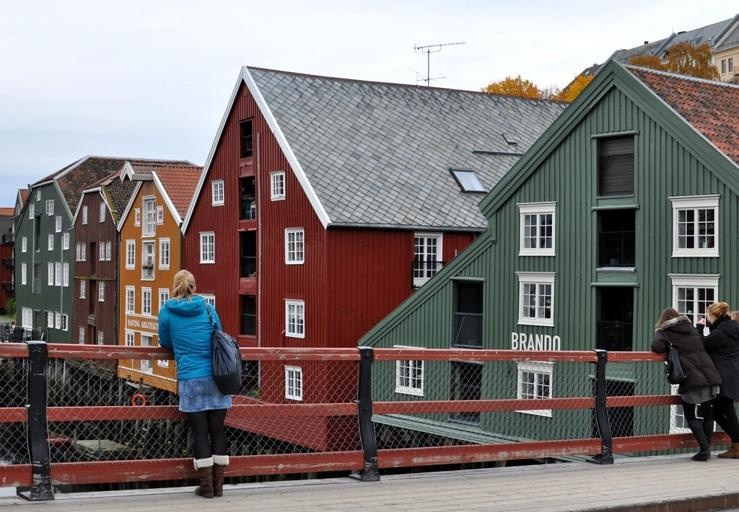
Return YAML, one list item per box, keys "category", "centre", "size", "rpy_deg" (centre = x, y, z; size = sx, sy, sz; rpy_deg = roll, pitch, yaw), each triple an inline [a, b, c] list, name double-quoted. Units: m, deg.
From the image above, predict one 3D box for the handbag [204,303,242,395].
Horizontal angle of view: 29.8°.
- category: "handbag"
  centre: [-3.289, 2.123, 31.240]
  size: [0.752, 1.936, 0.463]
  rpy_deg: [1, 8, -3]

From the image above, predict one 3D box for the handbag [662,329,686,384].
- category: "handbag"
  centre: [7.442, 2.514, 34.192]
  size: [0.338, 1.220, 0.558]
  rpy_deg: [-2, 8, -25]

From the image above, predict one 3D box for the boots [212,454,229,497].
- category: "boots"
  centre: [-3.339, 4.857, 31.172]
  size: [0.396, 0.876, 0.318]
  rpy_deg: [-3, 9, -30]

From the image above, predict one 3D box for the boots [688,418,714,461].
- category: "boots"
  centre: [8.109, 4.444, 34.218]
  size: [0.629, 0.969, 0.546]
  rpy_deg: [2, 8, -1]

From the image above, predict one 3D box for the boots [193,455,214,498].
- category: "boots"
  centre: [-3.724, 4.866, 31.101]
  size: [0.480, 0.875, 0.311]
  rpy_deg: [2, 8, 2]
